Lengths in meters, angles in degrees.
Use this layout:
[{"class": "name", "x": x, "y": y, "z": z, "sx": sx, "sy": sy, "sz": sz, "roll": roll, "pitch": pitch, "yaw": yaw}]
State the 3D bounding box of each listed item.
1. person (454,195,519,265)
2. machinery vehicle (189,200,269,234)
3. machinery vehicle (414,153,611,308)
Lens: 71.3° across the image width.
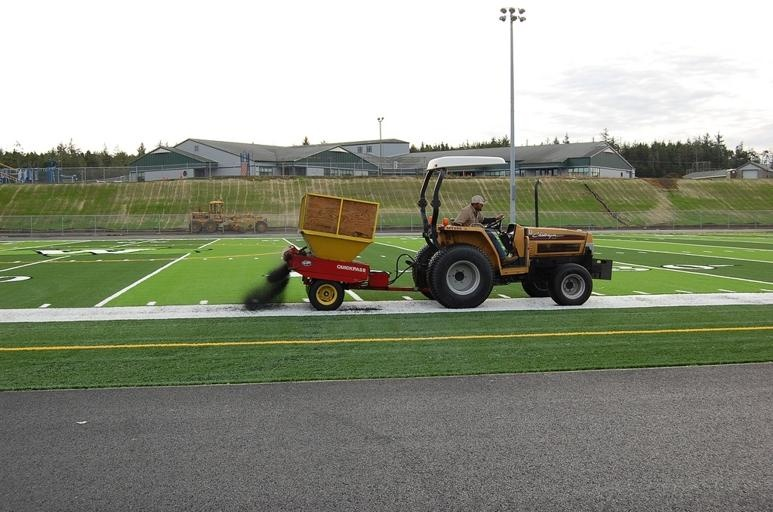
[{"class": "person", "x": 2.448, "y": -0.695, "z": 12.535, "sx": 1.700, "sy": 1.282, "sz": 0.585, "roll": -2, "pitch": -11, "yaw": 5}, {"class": "machinery vehicle", "x": -15.416, "y": -3.739, "z": 53.033, "sx": 7.384, "sy": 2.461, "sz": 2.313, "roll": 1, "pitch": 5, "yaw": -8}, {"class": "machinery vehicle", "x": 2.945, "y": -0.494, "z": 13.396, "sx": 5.137, "sy": 3.146, "sz": 2.502, "roll": -1, "pitch": 5, "yaw": -13}]
